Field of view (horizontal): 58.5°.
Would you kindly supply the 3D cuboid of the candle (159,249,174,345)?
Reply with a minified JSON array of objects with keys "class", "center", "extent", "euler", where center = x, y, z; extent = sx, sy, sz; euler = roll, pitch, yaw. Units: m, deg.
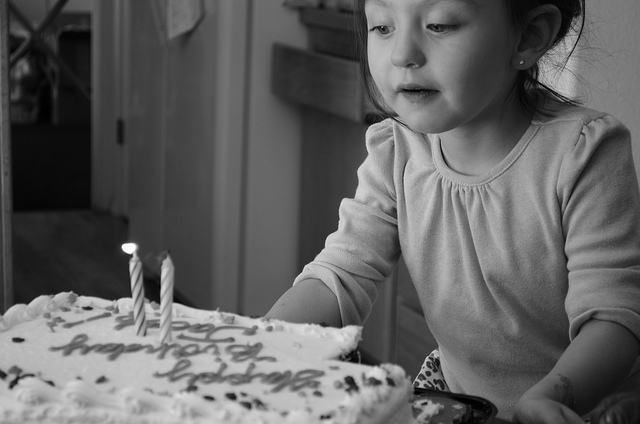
[{"class":"candle","center":[-0.305,0.154,1.131],"extent":[0.027,0.185,0.121],"euler":[-1,12,-16]}]

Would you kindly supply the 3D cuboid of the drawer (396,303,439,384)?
[{"class":"drawer","center":[0.373,0.550,2.254],"extent":[0.135,0.377,0.290],"euler":[3,11,4]}]

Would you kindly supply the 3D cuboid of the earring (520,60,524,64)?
[{"class":"earring","center":[0.415,-0.310,1.177],"extent":[0.007,0.007,0.002],"euler":[3,-14,5]}]

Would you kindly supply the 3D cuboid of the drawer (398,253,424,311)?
[{"class":"drawer","center":[0.340,0.276,2.177],"extent":[0.061,0.179,0.200],"euler":[-1,12,-14]}]

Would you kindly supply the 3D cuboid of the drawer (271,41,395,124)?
[{"class":"drawer","center":[0.048,-0.531,2.276],"extent":[0.573,0.253,0.409],"euler":[16,14,33]}]
